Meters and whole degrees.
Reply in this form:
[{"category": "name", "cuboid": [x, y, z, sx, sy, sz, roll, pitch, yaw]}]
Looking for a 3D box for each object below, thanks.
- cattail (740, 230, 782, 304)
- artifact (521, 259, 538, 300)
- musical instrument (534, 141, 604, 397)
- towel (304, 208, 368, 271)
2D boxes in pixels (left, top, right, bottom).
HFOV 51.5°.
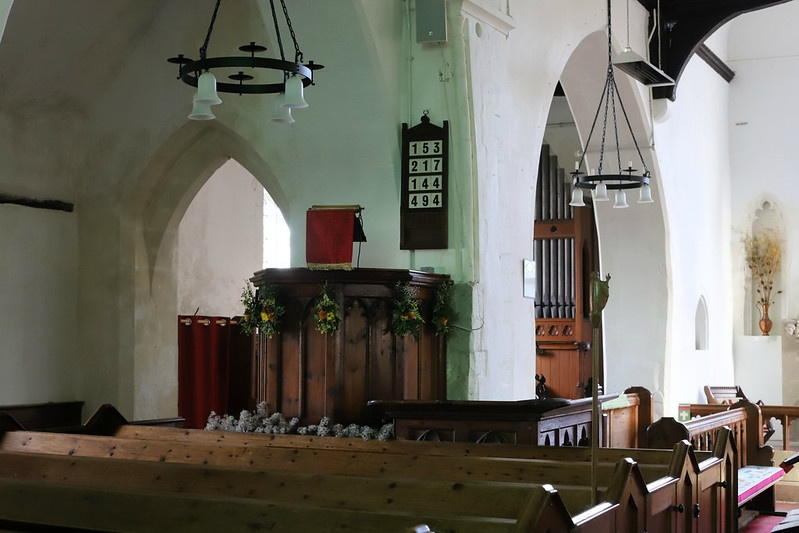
[{"category": "cattail", "cuboid": [7.285, -0.003, 16.512, 0.248, 1.493, 0.682, 4, -8, -43]}, {"category": "artifact", "cuboid": [1.578, 0.144, 10.106, 0.088, 0.497, 0.277, -5, -7, 31]}, {"category": "musical instrument", "cuboid": [2.899, -0.025, 14.725, 1.120, 4.639, 1.062, -3, -6, 8]}, {"category": "towel", "cuboid": [-0.679, -0.315, 8.505, 0.554, 0.699, 0.340, -1, -6, -7]}]
